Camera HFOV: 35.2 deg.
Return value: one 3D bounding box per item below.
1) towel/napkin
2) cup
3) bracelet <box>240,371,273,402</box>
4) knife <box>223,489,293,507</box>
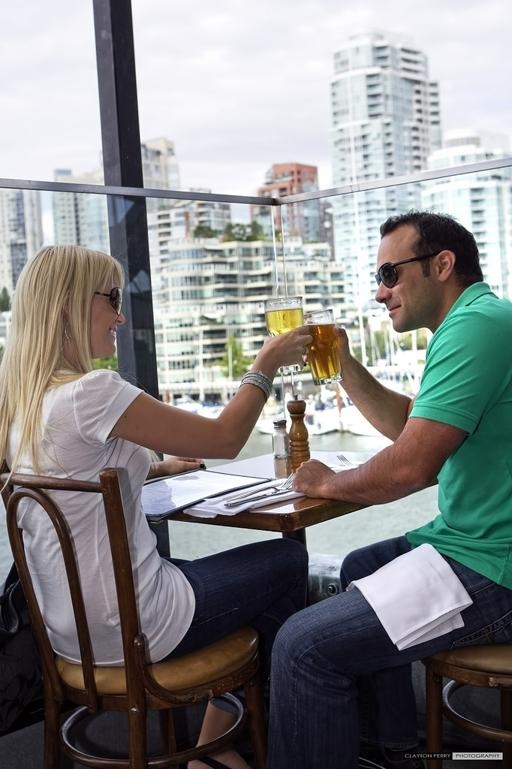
[{"bbox_3d":[0.278,0.367,1.423,0.182,0.168,0.063,-27,-34,-8],"label":"towel/napkin"},{"bbox_3d":[0.120,-0.106,1.849,0.249,0.204,0.134,-2,-2,-3],"label":"cup"},{"bbox_3d":[0.019,0.008,1.709,0.063,0.061,0.043,8,52,47],"label":"bracelet"},{"bbox_3d":[0.006,0.232,1.650,0.162,0.020,0.042,-2,6,-40],"label":"knife"}]
